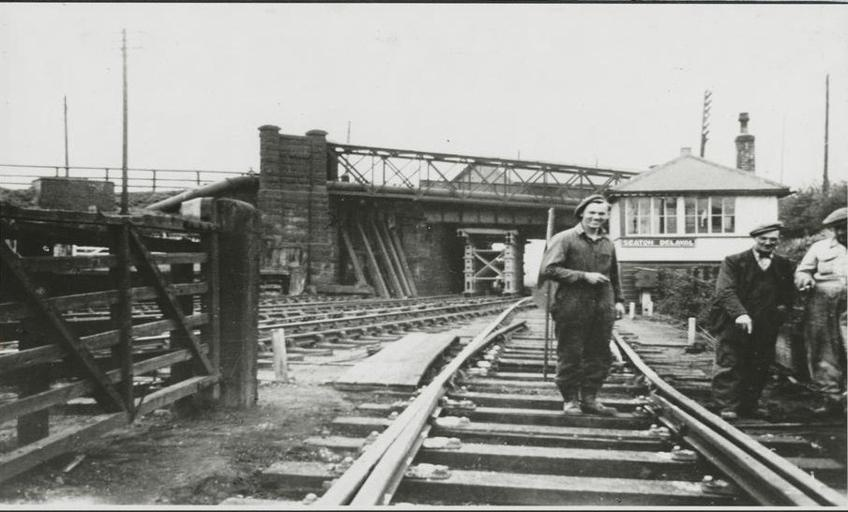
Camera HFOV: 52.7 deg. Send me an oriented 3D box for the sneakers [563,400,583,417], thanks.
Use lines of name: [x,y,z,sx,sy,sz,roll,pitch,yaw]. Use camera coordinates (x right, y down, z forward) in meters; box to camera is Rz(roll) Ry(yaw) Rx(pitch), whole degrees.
sneakers: [1.663,1.679,9.509,0.212,0.135,0.220,-1,2,3]

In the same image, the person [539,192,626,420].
person: [1.779,0.523,9.678,0.939,2.449,0.626,-1,2,7]

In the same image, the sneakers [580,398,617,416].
sneakers: [1.928,1.678,9.562,0.446,0.159,0.156,0,5,17]

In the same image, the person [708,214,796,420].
person: [3.692,0.707,9.601,0.856,2.170,0.481,0,2,17]
